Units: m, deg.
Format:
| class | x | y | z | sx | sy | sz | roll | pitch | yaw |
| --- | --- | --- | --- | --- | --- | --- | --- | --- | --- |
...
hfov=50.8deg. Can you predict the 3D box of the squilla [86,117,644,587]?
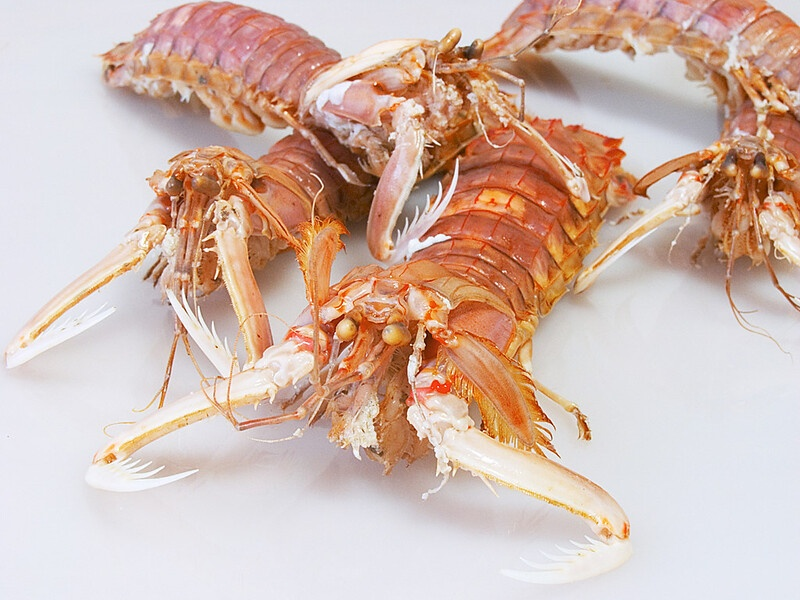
| class | x | y | z | sx | sy | sz | roll | pitch | yaw |
| --- | --- | --- | --- | --- | --- | --- | --- | --- | --- |
| squilla | 0.163 | -0.051 | 1.852 | 0.776 | 1.016 | 0.292 | 15 | -43 | 19 |
